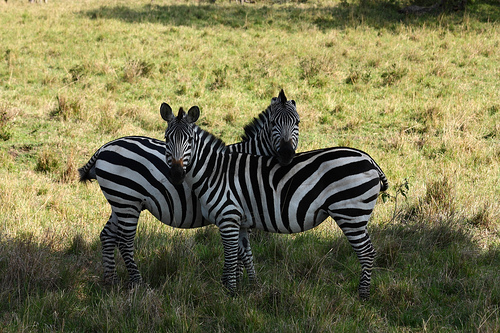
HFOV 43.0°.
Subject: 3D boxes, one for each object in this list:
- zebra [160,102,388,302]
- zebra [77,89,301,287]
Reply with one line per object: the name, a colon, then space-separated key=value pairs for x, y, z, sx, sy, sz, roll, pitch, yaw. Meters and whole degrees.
zebra: x=0.254 y=0.617 z=11.486 sx=3.990 sy=3.652 sz=1.342 roll=2 pitch=16 yaw=-2
zebra: x=-1.118 y=0.554 z=11.760 sx=4.294 sy=3.634 sz=1.493 roll=1 pitch=10 yaw=1
